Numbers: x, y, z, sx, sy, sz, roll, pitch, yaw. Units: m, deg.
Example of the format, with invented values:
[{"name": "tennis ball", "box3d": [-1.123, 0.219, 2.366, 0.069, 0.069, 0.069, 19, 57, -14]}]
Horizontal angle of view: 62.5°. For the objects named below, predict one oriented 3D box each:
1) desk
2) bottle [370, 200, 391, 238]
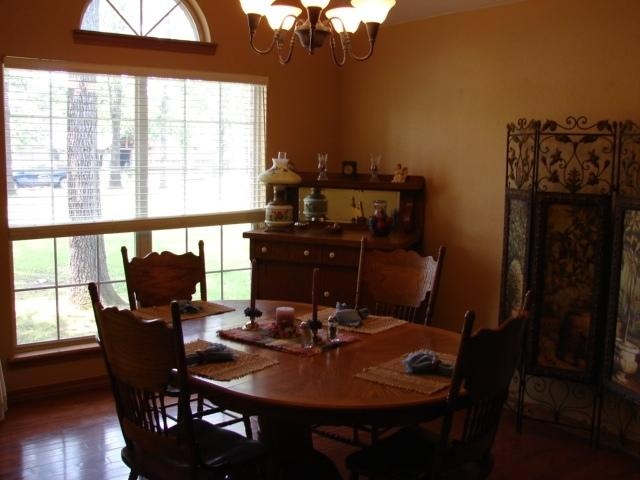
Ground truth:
[{"name": "desk", "box3d": [0.124, 0.099, 4.232, 1.233, 1.297, 0.736, 4, 8, 23]}, {"name": "bottle", "box3d": [0.468, -0.171, 4.148, 0.159, 0.259, 0.198, -1, 14, 0]}]
